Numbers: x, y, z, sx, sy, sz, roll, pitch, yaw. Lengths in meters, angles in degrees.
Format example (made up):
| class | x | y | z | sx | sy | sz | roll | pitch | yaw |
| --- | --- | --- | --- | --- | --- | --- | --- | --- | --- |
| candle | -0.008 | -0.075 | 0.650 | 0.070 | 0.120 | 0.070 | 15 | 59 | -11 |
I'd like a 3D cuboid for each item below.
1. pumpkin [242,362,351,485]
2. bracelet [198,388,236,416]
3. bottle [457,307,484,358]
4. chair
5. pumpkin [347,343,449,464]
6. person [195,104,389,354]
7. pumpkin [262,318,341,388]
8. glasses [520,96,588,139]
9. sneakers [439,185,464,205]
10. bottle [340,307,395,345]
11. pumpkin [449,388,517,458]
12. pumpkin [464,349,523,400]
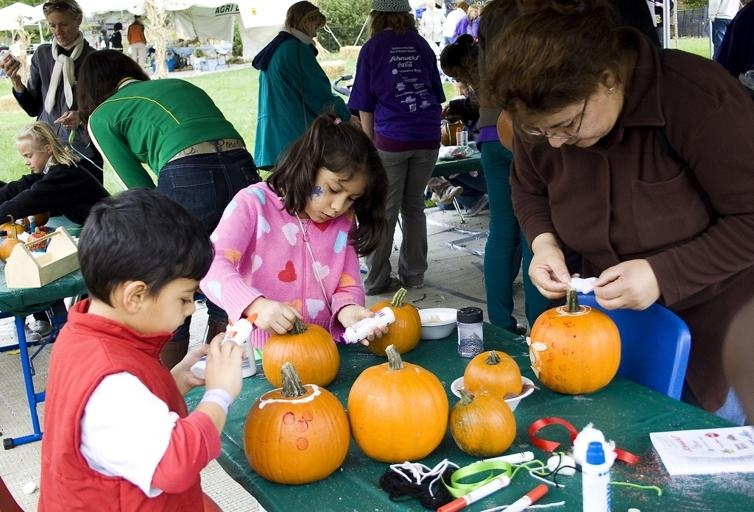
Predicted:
| class | x | y | z | sx | sy | sz | roll | pitch | yaw |
| --- | --- | --- | --- | --- | --- | --- | --- | --- | --- |
| pumpkin | -0.248 | 0.503 | 1.850 | 0.365 | 0.366 | 0.357 | -7 | 3 | 36 |
| bracelet | -0.477 | 0.429 | 1.634 | 0.073 | 0.056 | 0.072 | -3 | 6 | -24 |
| bottle | 0.397 | 0.336 | 2.309 | 0.119 | 0.185 | 0.117 | -2 | 1 | 0 |
| chair | 1.104 | 0.339 | 2.447 | 0.423 | 0.510 | 0.402 | 2 | 8 | 17 |
| pumpkin | 0.060 | 0.516 | 1.913 | 0.392 | 0.397 | 0.402 | 2 | 9 | 0 |
| person | -0.408 | 0.019 | 2.680 | 0.832 | 1.337 | 0.765 | 6 | 19 | -17 |
| pumpkin | -0.314 | 0.401 | 2.219 | 0.297 | 0.264 | 0.289 | -5 | 4 | -39 |
| glasses | 0.668 | -0.506 | 2.043 | 0.228 | 0.153 | 0.126 | 3 | 18 | 20 |
| sneakers | 1.030 | -0.864 | 7.535 | 0.146 | 0.167 | 0.390 | -27 | -7 | -27 |
| bottle | -0.029 | 0.297 | 2.276 | 0.235 | 0.083 | 0.078 | -24 | 33 | -6 |
| pumpkin | 0.328 | 0.527 | 1.822 | 0.194 | 0.203 | 0.194 | -22 | -1 | -6 |
| pumpkin | 0.421 | 0.422 | 1.936 | 0.176 | 0.164 | 0.171 | -3 | 7 | -16 |
